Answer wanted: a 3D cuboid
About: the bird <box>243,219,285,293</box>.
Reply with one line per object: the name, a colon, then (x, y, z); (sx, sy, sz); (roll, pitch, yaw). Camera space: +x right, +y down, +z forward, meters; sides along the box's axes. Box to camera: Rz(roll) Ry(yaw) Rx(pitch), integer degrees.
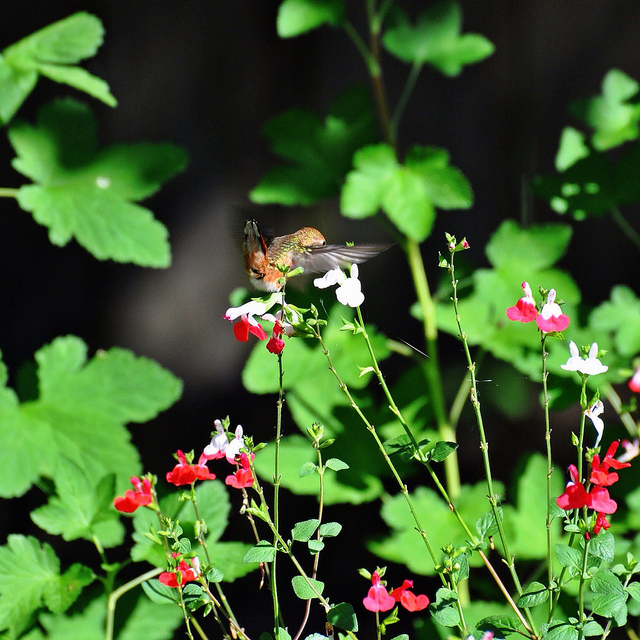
bird: (-0.102, -0.106, 1.487); (0.031, 0.133, 0.068); (-13, 6, -16)
